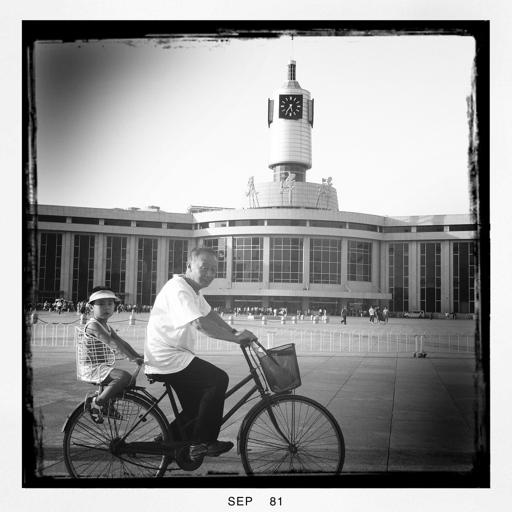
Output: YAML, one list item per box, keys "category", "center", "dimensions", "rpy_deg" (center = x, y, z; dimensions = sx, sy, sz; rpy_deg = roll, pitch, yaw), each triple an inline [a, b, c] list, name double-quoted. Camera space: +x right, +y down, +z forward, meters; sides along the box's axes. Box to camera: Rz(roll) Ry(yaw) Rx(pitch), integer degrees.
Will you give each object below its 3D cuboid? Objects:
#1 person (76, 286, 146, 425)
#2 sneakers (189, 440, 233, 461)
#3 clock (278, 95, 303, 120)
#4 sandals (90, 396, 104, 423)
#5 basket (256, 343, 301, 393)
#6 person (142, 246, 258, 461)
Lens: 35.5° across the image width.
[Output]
- category: "person"
  center: [-1.600, 1.037, 8.598]
  dimensions: [0.684, 1.419, 0.607]
  rpy_deg: [-2, -2, -15]
- category: "sneakers"
  center: [-0.489, 2.013, 8.414]
  dimensions: [0.457, 0.241, 0.201]
  rpy_deg: [-5, 1, -8]
- category: "clock"
  center: [3.583, -15.495, 83.149]
  dimensions: [2.093, 2.649, 0.278]
  rpy_deg: [1, 1, 13]
- category: "sandals"
  center: [-1.681, 1.623, 8.325]
  dimensions: [0.092, 0.320, 0.127]
  rpy_deg: [1, 25, 2]
- category: "basket"
  center: [0.234, 1.128, 8.565]
  dimensions: [0.422, 0.661, 0.504]
  rpy_deg: [-19, -5, 2]
- category: "person"
  center: [-0.680, 1.029, 8.391]
  dimensions: [1.059, 2.232, 0.621]
  rpy_deg: [-2, -2, -1]
